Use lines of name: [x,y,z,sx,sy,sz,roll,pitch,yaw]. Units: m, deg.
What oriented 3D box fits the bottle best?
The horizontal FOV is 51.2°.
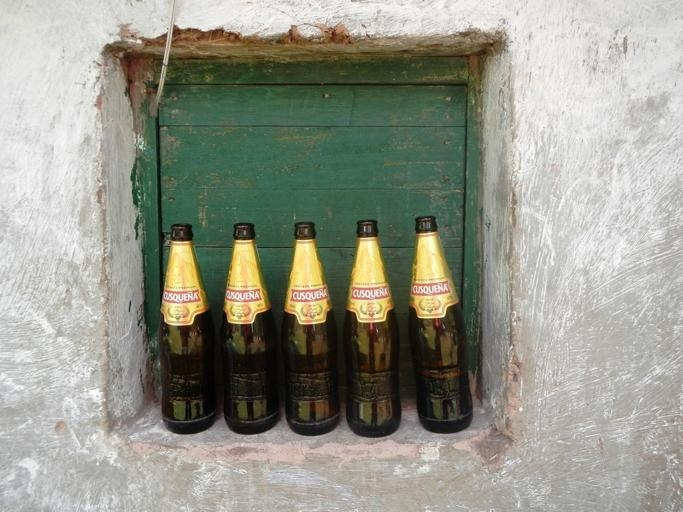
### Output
bottle: [-0.070,0.172,1.791,0.633,0.407,0.120,-1,7,3]
